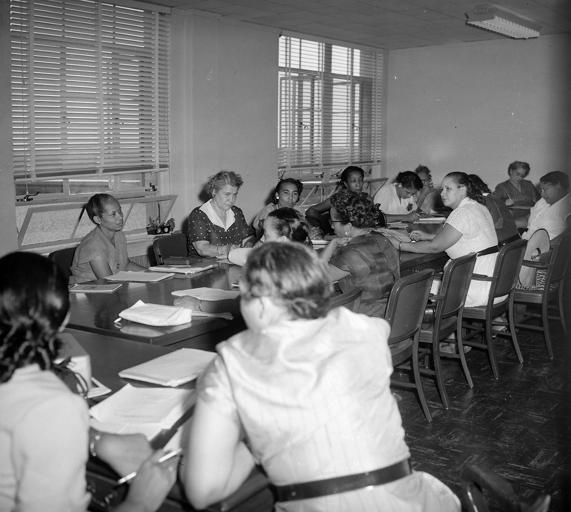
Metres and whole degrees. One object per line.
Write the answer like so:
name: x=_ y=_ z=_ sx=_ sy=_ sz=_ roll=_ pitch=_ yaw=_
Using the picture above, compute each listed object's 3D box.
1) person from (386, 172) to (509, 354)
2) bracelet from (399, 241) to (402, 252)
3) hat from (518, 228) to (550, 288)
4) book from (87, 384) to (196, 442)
person: x=1.298 y=-0.024 z=3.886 sx=0.769 sy=1.372 sz=0.538 roll=5 pitch=25 yaw=22
bracelet: x=0.879 y=-0.066 z=3.650 sx=0.015 sy=0.053 sz=0.051 roll=5 pitch=2 yaw=10
hat: x=2.016 y=-0.007 z=3.866 sx=0.353 sy=0.532 sz=0.145 roll=-14 pitch=18 yaw=-40
book: x=-0.380 y=0.419 z=1.276 sx=0.125 sy=0.051 sz=0.128 roll=6 pitch=12 yaw=24
